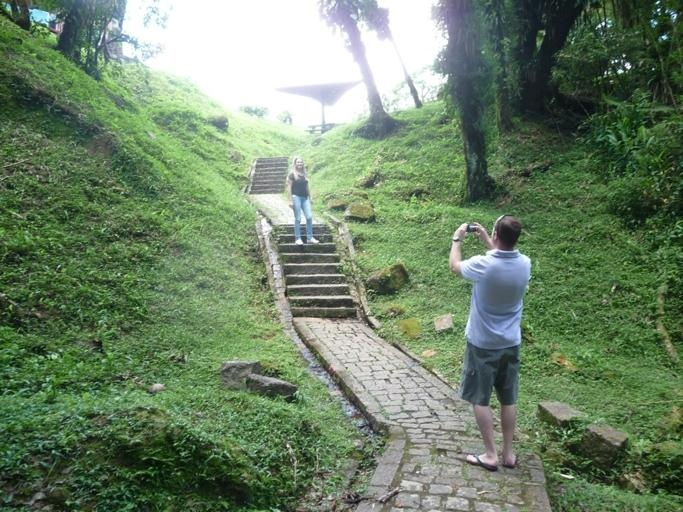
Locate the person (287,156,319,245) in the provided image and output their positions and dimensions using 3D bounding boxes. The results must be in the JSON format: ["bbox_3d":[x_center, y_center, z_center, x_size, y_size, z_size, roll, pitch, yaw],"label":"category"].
[{"bbox_3d":[-0.886,-1.187,11.588,0.531,1.812,1.530,-7,-1,-5],"label":"person"}]

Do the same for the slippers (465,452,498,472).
[{"bbox_3d":[1.578,2.327,5.865,0.271,0.081,0.146,4,1,42],"label":"slippers"}]

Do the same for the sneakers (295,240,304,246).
[{"bbox_3d":[-0.965,-0.300,11.502,0.090,0.078,0.187,-2,1,-30],"label":"sneakers"}]

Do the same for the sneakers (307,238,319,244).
[{"bbox_3d":[-0.633,-0.334,11.583,0.238,0.100,0.132,3,8,38],"label":"sneakers"}]

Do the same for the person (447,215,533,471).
[{"bbox_3d":[1.722,0.986,5.821,0.947,2.906,0.380,-8,-1,9],"label":"person"}]
